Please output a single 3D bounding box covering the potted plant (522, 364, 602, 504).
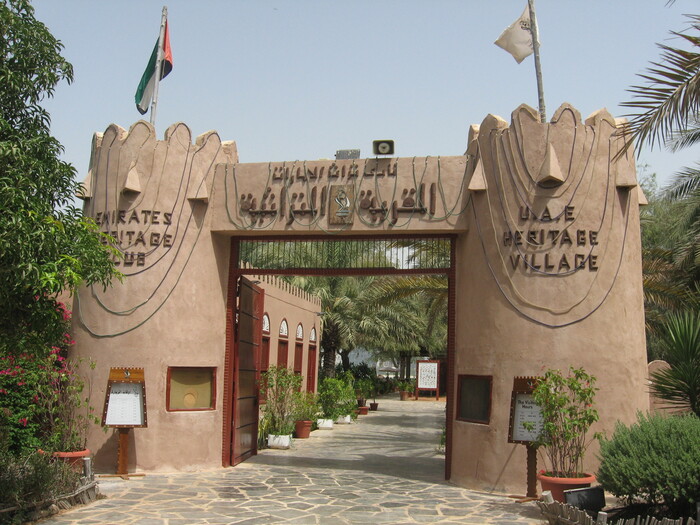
[{"bbox_3d":[4.164,3.550,14.491,1.019,2.208,1.275,-3,-14,28],"label":"potted plant"}]

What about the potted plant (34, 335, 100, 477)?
[{"bbox_3d":[-6.175,3.034,16.375,1.058,2.535,2.289,1,-5,-22],"label":"potted plant"}]

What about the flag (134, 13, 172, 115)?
[{"bbox_3d":[-5.076,-4.867,19.487,0.826,0.631,3.914,-1,-32,-22],"label":"flag"}]

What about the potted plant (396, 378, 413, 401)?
[{"bbox_3d":[3.747,8.327,48.879,1.206,1.504,1.184,1,-10,-6],"label":"potted plant"}]
